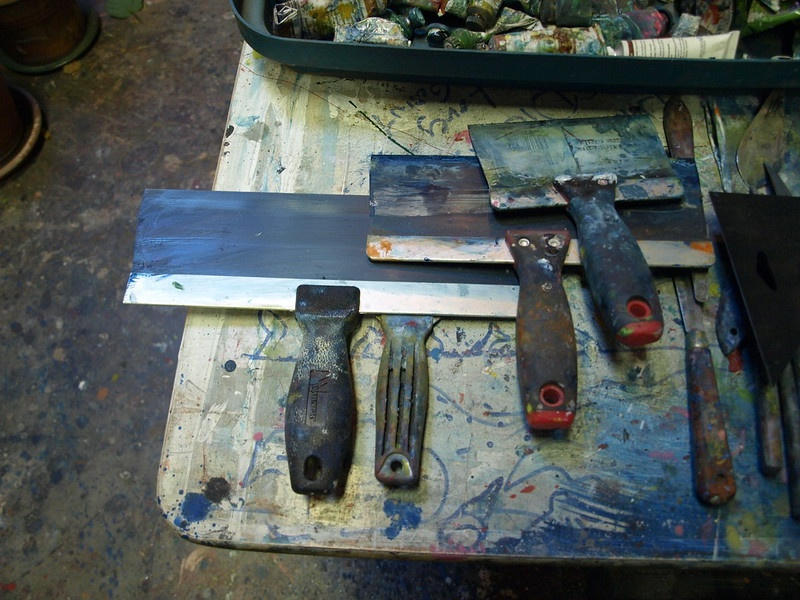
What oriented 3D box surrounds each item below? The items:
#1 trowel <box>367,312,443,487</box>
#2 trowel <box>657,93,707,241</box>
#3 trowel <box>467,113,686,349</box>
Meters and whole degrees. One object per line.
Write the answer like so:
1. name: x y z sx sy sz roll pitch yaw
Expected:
1. trowel: 0.005 0.167 1.259 0.112 0.049 0.359 3 50 1
2. trowel: 0.557 -0.275 1.393 0.056 0.023 0.307 -2 54 7
3. trowel: 0.360 -0.182 1.282 0.288 0.058 0.492 -3 59 -6
